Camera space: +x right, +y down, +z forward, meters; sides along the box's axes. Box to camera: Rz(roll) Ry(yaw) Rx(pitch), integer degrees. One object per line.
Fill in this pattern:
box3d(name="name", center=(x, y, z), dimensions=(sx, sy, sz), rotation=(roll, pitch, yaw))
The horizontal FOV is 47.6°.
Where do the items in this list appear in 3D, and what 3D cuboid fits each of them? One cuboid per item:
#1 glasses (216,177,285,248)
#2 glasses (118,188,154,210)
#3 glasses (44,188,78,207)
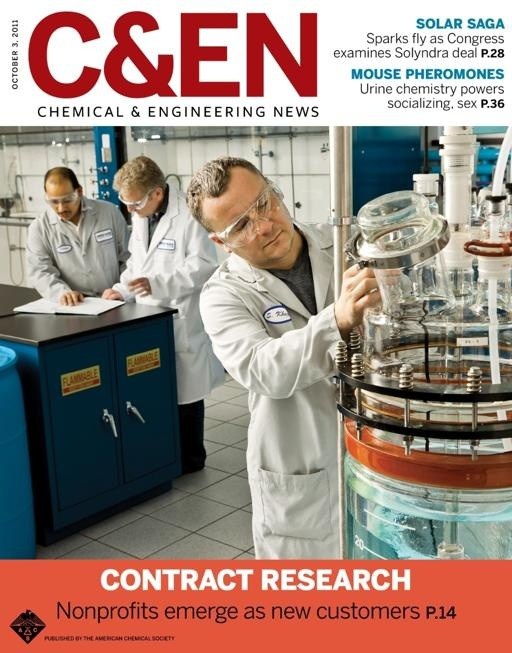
box3d(name="glasses", center=(-0.014, -0.243, 1.258), dimensions=(0.146, 0.043, 0.142), rotation=(-39, 6, -10))
box3d(name="glasses", center=(-0.709, -0.788, 3.534), dimensions=(0.129, 0.136, 0.049), rotation=(6, -14, 8))
box3d(name="glasses", center=(-1.322, -0.870, 3.940), dimensions=(0.212, 0.104, 0.190), rotation=(-6, 13, -10))
